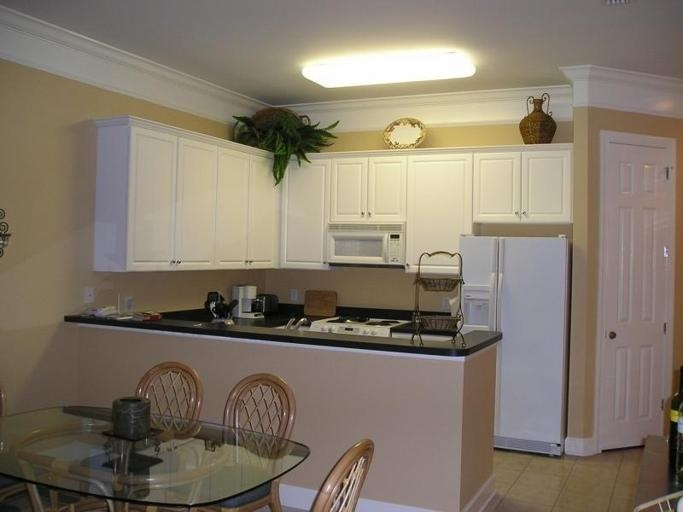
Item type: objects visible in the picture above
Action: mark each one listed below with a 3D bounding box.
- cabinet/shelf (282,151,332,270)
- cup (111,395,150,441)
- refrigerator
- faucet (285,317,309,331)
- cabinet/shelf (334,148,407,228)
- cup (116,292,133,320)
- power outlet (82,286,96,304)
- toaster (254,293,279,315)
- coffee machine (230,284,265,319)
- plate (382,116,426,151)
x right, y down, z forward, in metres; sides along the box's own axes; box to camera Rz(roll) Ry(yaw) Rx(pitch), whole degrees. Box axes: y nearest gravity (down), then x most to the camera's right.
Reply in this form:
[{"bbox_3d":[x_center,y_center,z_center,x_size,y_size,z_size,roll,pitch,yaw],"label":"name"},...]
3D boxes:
[{"bbox_3d":[-0.410,-0.473,5.948,0.528,1.188,0.261,1,9,5],"label":"cabinet/shelf"},{"bbox_3d":[-1.097,0.842,2.870,0.196,0.195,0.192,1,9,0],"label":"cup"},{"bbox_3d":[1.569,0.795,4.930,0.924,1.947,0.309,3,9,16],"label":"refrigerator"},{"bbox_3d":[-0.446,0.694,5.529,0.104,0.141,0.343,1,-3,-34],"label":"faucet"},{"bbox_3d":[0.331,-0.713,5.734,0.823,0.748,0.349,1,1,22],"label":"cabinet/shelf"},{"bbox_3d":[-1.966,0.427,4.821,0.103,0.193,0.280,2,9,8],"label":"cup"},{"bbox_3d":[-2.181,0.332,4.603,0.018,0.139,0.118,-1,-16,26],"label":"power outlet"},{"bbox_3d":[-0.882,0.548,6.184,0.186,0.257,0.352,2,2,28],"label":"toaster"},{"bbox_3d":[-1.059,0.504,6.031,0.385,0.435,0.270,-1,0,23],"label":"coffee machine"},{"bbox_3d":[0.676,-1.319,5.766,0.449,0.342,0.245,1,9,5],"label":"plate"}]
